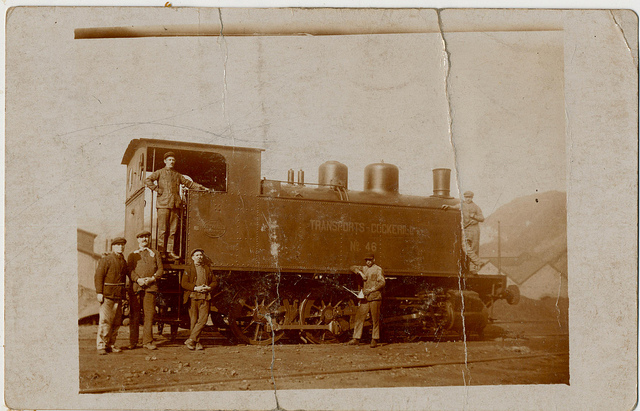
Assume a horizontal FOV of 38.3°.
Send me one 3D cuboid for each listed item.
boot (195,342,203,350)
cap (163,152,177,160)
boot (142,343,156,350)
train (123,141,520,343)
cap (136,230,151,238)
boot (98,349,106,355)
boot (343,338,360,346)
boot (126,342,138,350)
[{"bbox_3d":[-2.098,2.449,15.984,0.088,0.042,0.113,-16,120,-14],"label":"boot"},{"bbox_3d":[-2.600,-0.874,16.056,0.224,0.078,0.092,1,74,1],"label":"cap"},{"bbox_3d":[-2.913,2.436,15.796,0.187,0.091,0.081,-1,85,12],"label":"boot"},{"bbox_3d":[-0.176,0.919,17.574,8.200,2.578,3.577,3,79,-25],"label":"train"},{"bbox_3d":[-3.041,0.485,15.903,0.233,0.107,0.126,-6,74,-1],"label":"cap"},{"bbox_3d":[-3.693,2.487,15.632,0.118,0.047,0.093,-1,73,0],"label":"boot"},{"bbox_3d":[0.564,2.499,16.833,0.338,0.117,0.189,4,81,-4],"label":"boot"},{"bbox_3d":[-3.202,2.407,15.771,0.199,0.065,0.071,10,75,-37],"label":"boot"}]
